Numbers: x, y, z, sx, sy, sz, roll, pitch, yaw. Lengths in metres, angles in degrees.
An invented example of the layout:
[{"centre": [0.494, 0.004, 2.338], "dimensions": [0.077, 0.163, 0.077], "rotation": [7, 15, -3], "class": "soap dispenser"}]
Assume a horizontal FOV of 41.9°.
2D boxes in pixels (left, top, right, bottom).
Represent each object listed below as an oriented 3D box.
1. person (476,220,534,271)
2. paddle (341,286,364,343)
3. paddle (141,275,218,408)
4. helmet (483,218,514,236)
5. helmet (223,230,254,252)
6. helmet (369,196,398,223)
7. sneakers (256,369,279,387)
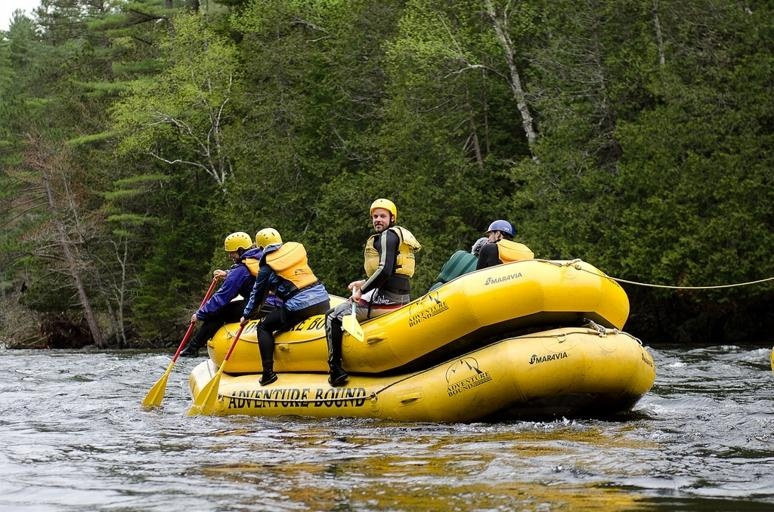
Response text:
[{"centre": [2.452, -0.114, 21.422], "dimensions": [0.891, 1.318, 1.004], "rotation": [3, -6, 35], "class": "person"}, {"centre": [-0.701, 1.268, 20.813], "dimensions": [0.102, 1.268, 0.509], "rotation": [-39, -58, 25], "class": "paddle"}, {"centre": [-6.844, 2.715, 32.878], "dimensions": [0.981, 5.340, 0.220], "rotation": [33, -38, 4], "class": "paddle"}, {"centre": [2.390, -0.596, 21.476], "dimensions": [0.465, 0.223, 0.345], "rotation": [12, 1, 23], "class": "helmet"}, {"centre": [-3.369, -0.288, 22.787], "dimensions": [0.625, 0.496, 0.453], "rotation": [-13, 11, -14], "class": "helmet"}, {"centre": [-0.044, -0.921, 20.958], "dimensions": [0.492, 0.657, 0.505], "rotation": [-3, 32, 17], "class": "helmet"}, {"centre": [-2.515, 2.589, 21.313], "dimensions": [0.469, 0.227, 0.205], "rotation": [-33, -7, 42], "class": "sneakers"}]
